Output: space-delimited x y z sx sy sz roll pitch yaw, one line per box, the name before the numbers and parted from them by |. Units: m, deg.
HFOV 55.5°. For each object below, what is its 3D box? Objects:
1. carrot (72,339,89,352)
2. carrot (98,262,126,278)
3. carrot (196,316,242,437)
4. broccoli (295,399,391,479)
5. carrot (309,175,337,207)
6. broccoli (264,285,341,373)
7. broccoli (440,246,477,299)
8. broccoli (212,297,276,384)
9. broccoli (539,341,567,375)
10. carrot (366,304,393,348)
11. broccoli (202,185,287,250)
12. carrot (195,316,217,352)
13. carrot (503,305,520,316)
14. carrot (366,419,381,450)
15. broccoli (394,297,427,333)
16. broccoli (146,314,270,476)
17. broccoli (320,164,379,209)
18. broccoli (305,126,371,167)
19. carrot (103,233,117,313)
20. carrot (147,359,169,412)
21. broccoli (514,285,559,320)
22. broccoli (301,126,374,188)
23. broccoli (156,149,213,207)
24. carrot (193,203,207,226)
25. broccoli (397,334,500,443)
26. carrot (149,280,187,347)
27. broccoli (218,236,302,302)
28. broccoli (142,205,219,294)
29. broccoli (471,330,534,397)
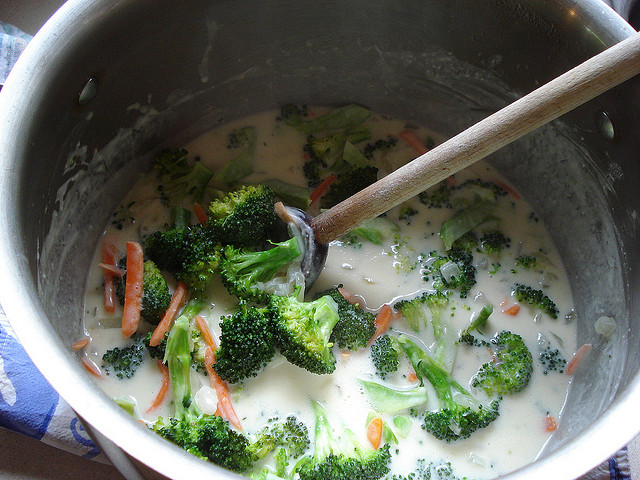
carrot | -0.910 0.398 2.317 0.043 0.080 0.032 -16 87 -2
carrot | -0.819 0.128 2.416 0.096 0.027 0.053 37 55 -6
carrot | -0.377 0.567 2.372 0.100 0.501 0.055 -3 41 7
broccoli | 0.075 0.786 2.212 0.344 0.201 0.232 26 86 0
carrot | 0.010 -0.206 2.629 0.019 0.018 0.174 42 88 -20
broccoli | -0.062 0.327 2.282 0.280 0.132 0.327 -2 71 -28
broccoli | 0.580 0.128 2.445 0.119 0.049 0.206 2 79 -1
broccoli | -0.285 0.362 2.295 0.199 0.117 0.306 -4 86 -4
broccoli | 0.925 0.476 2.421 0.075 0.022 0.126 -19 67 -8
carrot | 0.236 0.332 2.420 0.035 0.081 0.162 35 58 -30
broccoli | -0.303 -0.090 2.408 0.244 0.163 0.279 -23 48 -34
carrot | -0.441 0.353 2.345 0.043 0.028 0.181 -25 68 -1
carrot | 0.783 0.284 2.462 0.057 0.017 0.036 -18 87 -11
carrot | 0.193 0.716 2.237 0.051 0.019 0.091 -18 66 29
broccoli | 0.368 0.289 2.431 0.101 0.047 0.129 -13 69 -7
broccoli | -0.453 0.566 2.239 0.389 0.229 0.580 -9 71 -43
broccoli | 0.120 -0.238 2.612 0.231 0.171 0.062 -42 107 16
broccoli | 0.078 -0.428 2.741 0.239 0.106 0.162 -30 83 -9
carrot | -0.838 0.132 2.482 0.062 0.039 0.311 -8 70 18
carrot | -0.602 0.548 2.290 0.038 0.060 0.170 11 80 -3
broccoli | 0.871 0.245 2.476 0.151 0.067 0.127 5 65 -5
broccoli | 0.081 -0.378 2.744 0.300 0.125 0.203 -31 68 0
broccoli | -0.574 -0.288 2.624 0.272 0.241 0.120 27 61 2
carrot | -0.502 -0.103 2.527 0.017 0.065 0.069 -25 81 4
broccoli | 0.473 0.602 2.381 0.224 0.150 0.390 -23 76 -9
carrot | -0.580 0.286 2.332 0.070 0.049 0.335 22 64 -16
broccoli | -0.249 0.103 2.420 0.349 0.302 0.150 -20 105 17
broccoli | -0.599 0.038 2.458 0.262 0.169 0.400 1 39 -51
broccoli | 0.725 0.488 2.360 0.168 0.080 0.273 3 74 6
